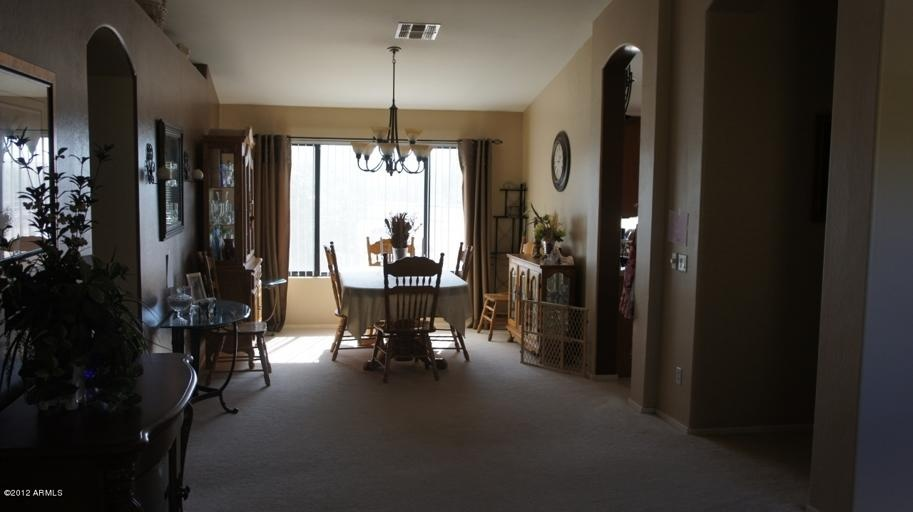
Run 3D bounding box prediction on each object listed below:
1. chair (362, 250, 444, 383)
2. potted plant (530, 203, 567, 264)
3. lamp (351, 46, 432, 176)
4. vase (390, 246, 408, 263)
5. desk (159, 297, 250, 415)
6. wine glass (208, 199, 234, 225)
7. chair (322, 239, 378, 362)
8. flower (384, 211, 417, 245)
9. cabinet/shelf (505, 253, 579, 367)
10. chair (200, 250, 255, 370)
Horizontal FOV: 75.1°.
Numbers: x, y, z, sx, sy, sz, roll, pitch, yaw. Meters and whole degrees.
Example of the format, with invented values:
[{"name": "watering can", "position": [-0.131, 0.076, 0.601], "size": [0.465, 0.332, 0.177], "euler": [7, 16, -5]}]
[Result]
[{"name": "chair", "position": [-0.625, 0.658, 6.839], "size": [0.816, 1.371, 0.926], "euler": [1, 5, -5]}, {"name": "potted plant", "position": [1.155, -0.300, 7.550], "size": [0.417, 0.572, 0.414], "euler": [-12, 5, 1]}, {"name": "lamp", "position": [-0.765, -1.775, 7.151], "size": [0.929, 1.480, 0.960], "euler": [-4, 14, -30]}, {"name": "vase", "position": [-0.747, -0.009, 7.602], "size": [0.224, 0.255, 0.245], "euler": [2, -1, -5]}, {"name": "desk", "position": [-2.470, 1.091, 6.045], "size": [0.811, 0.899, 1.412], "euler": [9, -9, -19]}, {"name": "wine glass", "position": [-2.754, -0.499, 6.841], "size": [0.279, 0.277, 0.153], "euler": [0, -6, -10]}, {"name": "chair", "position": [-1.282, 0.522, 7.367], "size": [0.722, 1.310, 0.760], "euler": [3, 13, 21]}, {"name": "flower", "position": [-0.728, -0.312, 7.545], "size": [0.367, 0.354, 0.309], "euler": [-13, 10, 40]}, {"name": "cabinet/shelf", "position": [0.990, 0.706, 7.531], "size": [0.602, 1.257, 1.752], "euler": [4, 5, -11]}, {"name": "chair", "position": [-2.690, 0.567, 7.060], "size": [0.524, 1.194, 0.682], "euler": [-1, -5, -31]}]
